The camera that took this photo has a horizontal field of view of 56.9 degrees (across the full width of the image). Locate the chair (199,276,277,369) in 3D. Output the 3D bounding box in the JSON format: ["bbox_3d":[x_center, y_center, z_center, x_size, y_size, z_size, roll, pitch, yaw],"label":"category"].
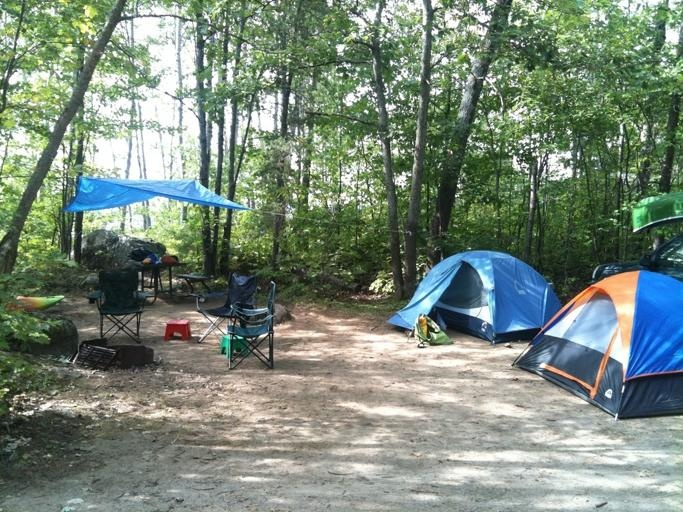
[{"bbox_3d":[-1.916,1.263,11.570,0.754,0.767,1.758,2,-2,-26],"label":"chair"}]

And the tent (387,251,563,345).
[{"bbox_3d":[2.431,0.762,12.138,2.639,1.101,2.139,5,6,41],"label":"tent"}]

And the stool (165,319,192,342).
[{"bbox_3d":[-3.042,1.375,11.642,0.468,0.274,0.405,1,-2,-10],"label":"stool"}]
